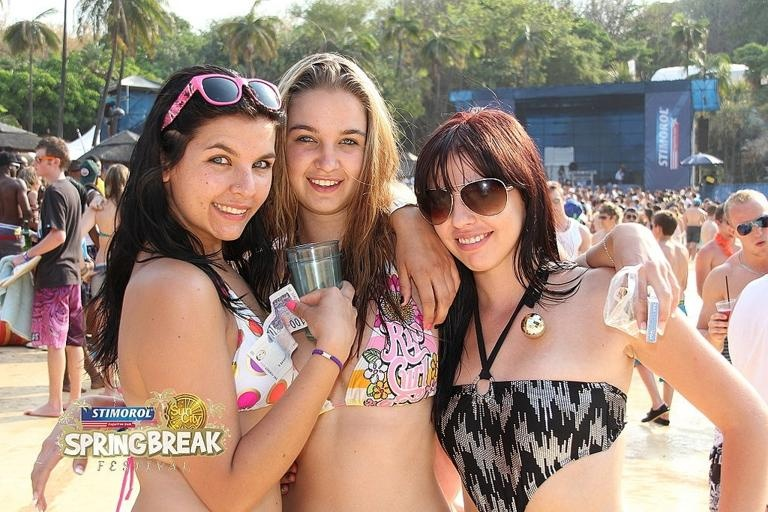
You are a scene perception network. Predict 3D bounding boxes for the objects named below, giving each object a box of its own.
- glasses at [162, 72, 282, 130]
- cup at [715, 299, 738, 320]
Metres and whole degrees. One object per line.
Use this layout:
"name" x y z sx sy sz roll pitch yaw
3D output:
"glasses" -0.703 -0.666 2.705 0.505 0.205 0.117 -1 0 -13
"cup" 2.364 0.371 4.333 0.156 0.173 0.171 0 -6 0
